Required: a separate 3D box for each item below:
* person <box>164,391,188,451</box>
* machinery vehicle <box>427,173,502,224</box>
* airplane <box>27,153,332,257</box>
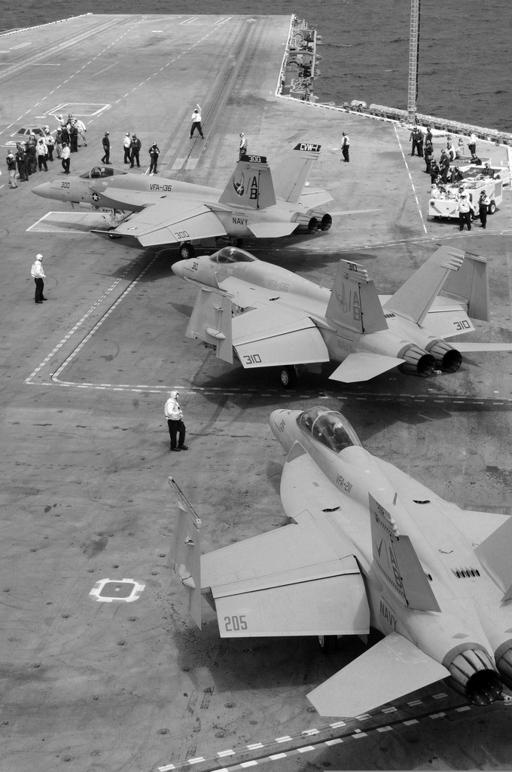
[{"bbox_3d":[-2.185,1.027,19.031,0.639,1.619,0.686,0,48,-1],"label":"person"},{"bbox_3d":[11.541,-10.549,38.510,2.631,2.054,4.847,18,31,38],"label":"machinery vehicle"},{"bbox_3d":[-2.905,-8.412,31.973,9.945,2.907,8.005,13,29,27],"label":"airplane"}]
